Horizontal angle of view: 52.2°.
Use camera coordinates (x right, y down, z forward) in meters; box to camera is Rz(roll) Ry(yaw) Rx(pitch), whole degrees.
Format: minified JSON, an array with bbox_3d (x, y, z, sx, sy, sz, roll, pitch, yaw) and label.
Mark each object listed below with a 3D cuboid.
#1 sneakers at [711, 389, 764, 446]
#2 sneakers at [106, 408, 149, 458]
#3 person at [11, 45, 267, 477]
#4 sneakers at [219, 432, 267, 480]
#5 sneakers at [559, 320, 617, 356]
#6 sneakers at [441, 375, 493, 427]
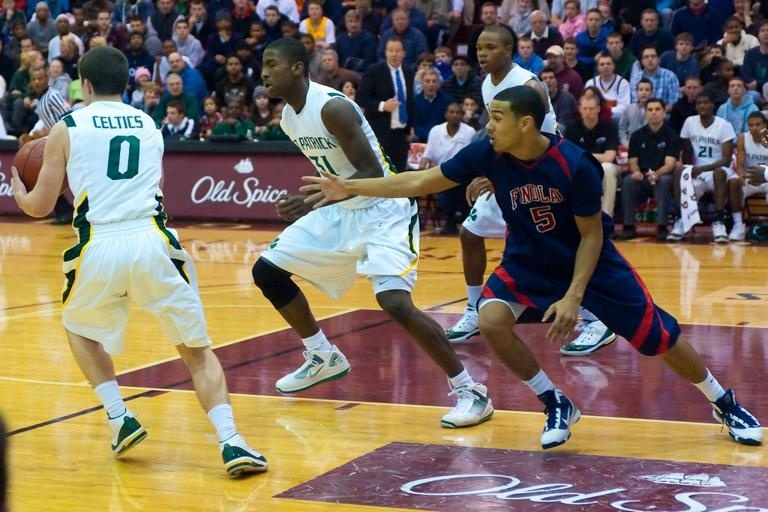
[{"bbox_3d":[1.777,0.799,4.061,0.139,0.173,0.388,-23,20,-11],"label":"sneakers"},{"bbox_3d":[-1.274,0.867,3.862,0.111,0.142,0.296,-38,4,-29],"label":"sneakers"},{"bbox_3d":[-1.234,-0.009,3.869,1.165,2.015,0.450,3,12,18],"label":"person"},{"bbox_3d":[-0.703,0.943,3.694,0.131,0.172,0.288,-31,-30,14],"label":"sneakers"},{"bbox_3d":[1.460,0.593,5.651,0.541,0.227,0.184,-9,-1,-34],"label":"sneakers"},{"bbox_3d":[0.462,0.821,4.294,0.142,0.188,0.396,-7,-3,30],"label":"sneakers"}]
